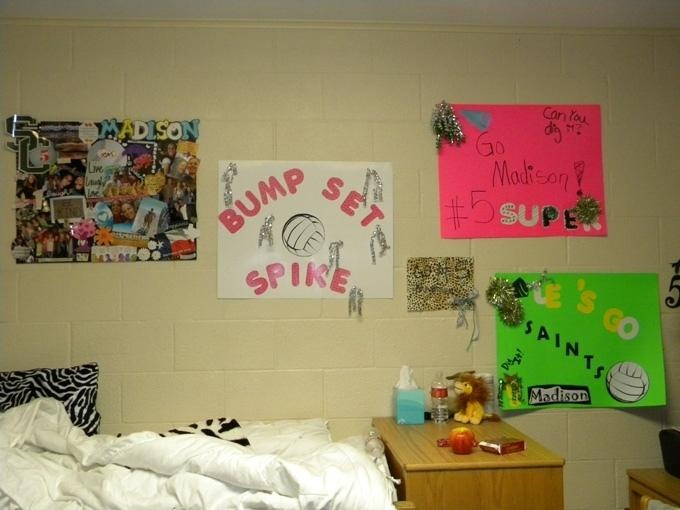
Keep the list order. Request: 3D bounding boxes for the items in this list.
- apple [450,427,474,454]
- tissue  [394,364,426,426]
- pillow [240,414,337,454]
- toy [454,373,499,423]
[{"bbox_3d":[0.528,0.804,3.079,0.098,0.112,0.103,-2,-9,16],"label":"apple"},{"bbox_3d":[0.337,0.685,3.439,0.120,0.286,0.134,3,4,-2],"label":"tissue "},{"bbox_3d":[-0.249,0.823,3.326,0.325,0.117,0.292,2,1,0],"label":"pillow"},{"bbox_3d":[0.651,0.702,3.451,0.211,0.258,0.211,3,-5,-1],"label":"toy"}]
